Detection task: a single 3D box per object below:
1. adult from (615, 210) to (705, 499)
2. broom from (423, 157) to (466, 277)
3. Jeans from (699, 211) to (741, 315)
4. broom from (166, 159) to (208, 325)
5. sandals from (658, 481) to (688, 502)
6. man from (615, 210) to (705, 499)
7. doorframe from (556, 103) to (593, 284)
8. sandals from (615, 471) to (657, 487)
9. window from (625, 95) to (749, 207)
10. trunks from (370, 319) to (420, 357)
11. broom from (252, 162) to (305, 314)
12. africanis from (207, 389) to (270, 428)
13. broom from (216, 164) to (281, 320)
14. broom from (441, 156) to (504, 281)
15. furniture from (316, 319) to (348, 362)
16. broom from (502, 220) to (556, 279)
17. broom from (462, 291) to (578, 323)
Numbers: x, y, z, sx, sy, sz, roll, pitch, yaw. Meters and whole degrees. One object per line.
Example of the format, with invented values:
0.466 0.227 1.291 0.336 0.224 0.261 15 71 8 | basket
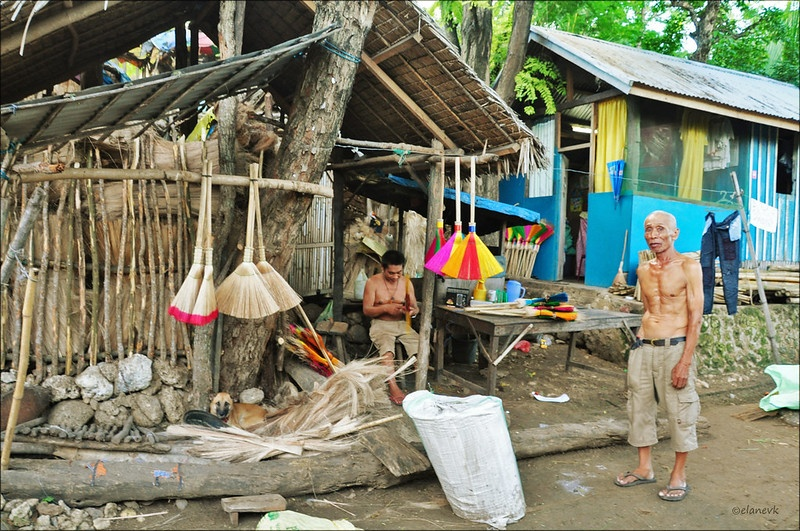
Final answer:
3.033 1.024 9.492 0.857 3.299 0.301 0 -2 18 | adult
0.746 -0.710 10.399 0.753 1.486 0.617 3 20 -1 | broom
4.547 -0.049 11.614 0.547 1.451 0.643 1 -2 13 | Jeans
-2.249 -0.268 9.117 0.504 1.839 0.413 3 -2 -44 | broom
3.144 2.573 9.360 0.397 0.207 0.163 1 -2 -7 | sandals
3.033 1.024 9.492 0.857 3.299 0.301 0 -2 18 | man
3.575 -1.463 16.569 0.748 3.425 0.111 3 9 25 | doorframe
2.751 2.499 9.570 0.452 0.109 0.169 1 -3 -5 | sandals
5.314 -1.965 14.649 3.042 1.597 0.016 -1 9 -26 | window
-0.069 0.978 11.114 0.655 0.504 0.545 1 -2 -2 | trunks
-1.593 -0.362 9.356 0.824 1.620 0.638 -8 16 -21 | broom
-1.942 1.820 10.083 0.849 0.389 0.299 6 10 -39 | africanis
-1.720 -0.283 9.310 0.701 1.741 0.238 1 -2 12 | broom
0.990 -0.629 10.536 0.651 1.597 0.662 0 -2 23 | broom
-0.977 1.070 11.521 0.501 0.418 0.474 1 9 -17 | furniture
2.370 -0.343 15.114 1.117 1.039 0.302 7 4 -6 | broom
1.682 0.554 11.083 1.450 0.370 0.652 0 -2 11 | broom
